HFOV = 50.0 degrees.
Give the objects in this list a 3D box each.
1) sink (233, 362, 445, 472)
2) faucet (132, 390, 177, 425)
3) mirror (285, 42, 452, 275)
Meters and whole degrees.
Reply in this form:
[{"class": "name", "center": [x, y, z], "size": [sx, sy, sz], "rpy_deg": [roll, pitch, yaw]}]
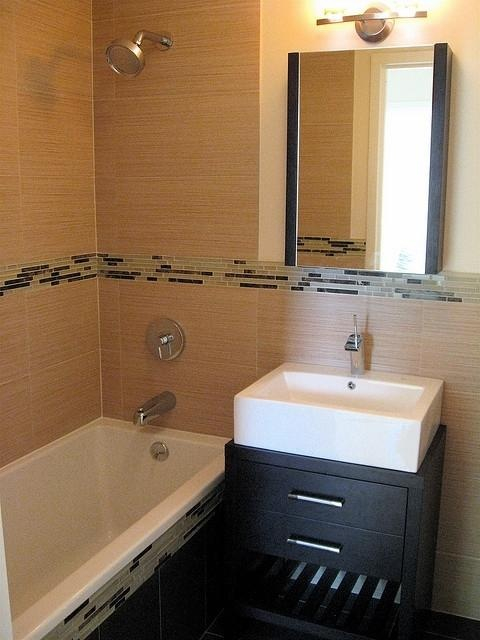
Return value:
[{"class": "sink", "center": [0.328, 0.278, 1.647], "size": [0.568, 0.170, 0.506], "rpy_deg": [6, 12, 24]}, {"class": "faucet", "center": [-0.366, 0.377, 2.115], "size": [0.076, 0.085, 0.249], "rpy_deg": [4, 19, 24]}, {"class": "mirror", "center": [0.406, -0.521, 1.695], "size": [0.533, 0.705, 0.097], "rpy_deg": [6, 12, 26]}]
